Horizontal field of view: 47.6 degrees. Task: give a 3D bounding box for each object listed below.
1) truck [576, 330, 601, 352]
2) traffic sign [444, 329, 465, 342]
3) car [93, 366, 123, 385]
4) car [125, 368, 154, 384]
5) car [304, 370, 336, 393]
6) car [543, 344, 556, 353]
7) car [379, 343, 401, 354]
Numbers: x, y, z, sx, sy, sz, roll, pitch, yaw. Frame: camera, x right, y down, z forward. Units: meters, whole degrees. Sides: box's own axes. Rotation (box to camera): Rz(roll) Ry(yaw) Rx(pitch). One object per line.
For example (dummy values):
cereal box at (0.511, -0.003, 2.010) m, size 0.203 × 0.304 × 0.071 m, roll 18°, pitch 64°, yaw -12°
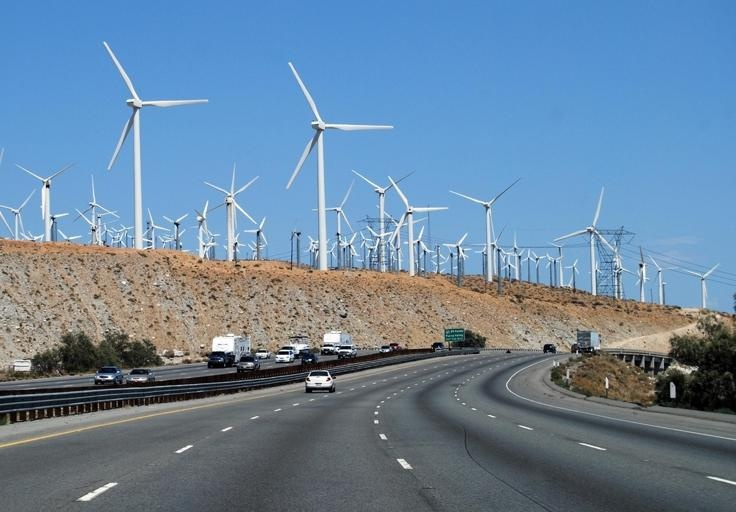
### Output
truck at (28.348, 10.954, 107.449) m, size 2.111 × 2.585 × 4.787 m, roll -2°, pitch -8°, yaw 17°
traffic sign at (12.667, 11.503, 121.897) m, size 1.974 × 1.359 × 0.289 m, roll -2°, pitch 2°, yaw 10°
car at (-17.385, 8.116, 56.131) m, size 1.662 × 0.873 × 2.612 m, roll 3°, pitch 0°, yaw -16°
car at (-14.963, 8.172, 55.704) m, size 2.000 × 0.679 × 0.946 m, roll -3°, pitch 16°, yaw -41°
car at (-3.006, 8.229, 54.204) m, size 1.987 × 1.226 × 1.288 m, roll 3°, pitch 0°, yaw 38°
car at (26.007, 13.171, 119.248) m, size 1.103 × 1.032 × 1.952 m, roll 0°, pitch 3°, yaw 14°
car at (2.864, 11.912, 107.478) m, size 1.383 × 0.957 × 3.148 m, roll -5°, pitch -13°, yaw 21°
